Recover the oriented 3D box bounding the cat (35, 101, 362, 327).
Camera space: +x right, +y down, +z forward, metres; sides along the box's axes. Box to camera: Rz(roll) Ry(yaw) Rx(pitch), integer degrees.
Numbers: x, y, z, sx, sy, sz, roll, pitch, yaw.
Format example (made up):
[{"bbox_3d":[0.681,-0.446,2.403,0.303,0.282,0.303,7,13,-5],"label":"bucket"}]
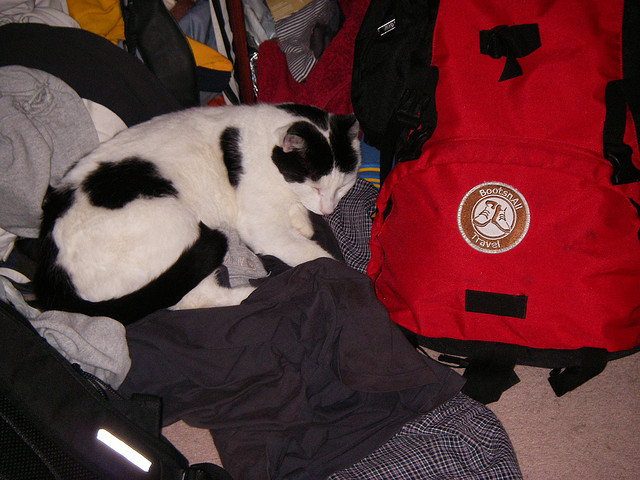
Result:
[{"bbox_3d":[-0.338,-0.098,1.895,1.035,0.390,0.470,-24,49,-22],"label":"cat"}]
